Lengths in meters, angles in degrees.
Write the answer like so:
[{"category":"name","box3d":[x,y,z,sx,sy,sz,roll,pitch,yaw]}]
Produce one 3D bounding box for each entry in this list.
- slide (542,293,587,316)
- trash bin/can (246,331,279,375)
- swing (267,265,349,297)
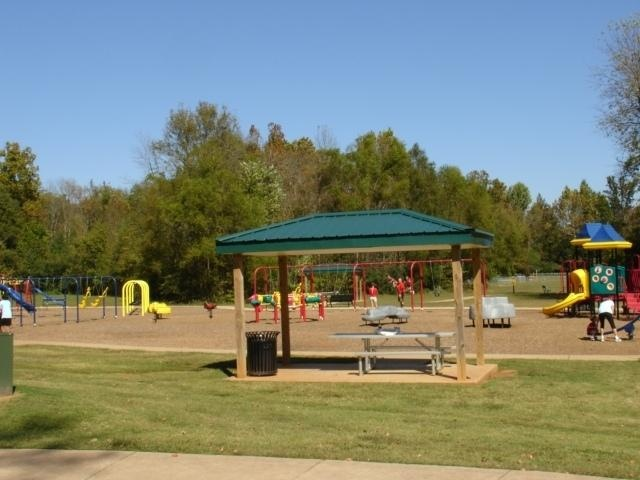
[{"category":"slide","box3d":[10.775,2.820,33.852,1.525,1.109,2.562,-1,0,1]},{"category":"trash bin/can","box3d":[-1.467,2.864,19.479,0.764,1.082,0.831,-7,-12,37]},{"category":"swing","box3d":[-0.044,2.604,55.524,4.680,2.497,4.092,-4,-2,22]}]
